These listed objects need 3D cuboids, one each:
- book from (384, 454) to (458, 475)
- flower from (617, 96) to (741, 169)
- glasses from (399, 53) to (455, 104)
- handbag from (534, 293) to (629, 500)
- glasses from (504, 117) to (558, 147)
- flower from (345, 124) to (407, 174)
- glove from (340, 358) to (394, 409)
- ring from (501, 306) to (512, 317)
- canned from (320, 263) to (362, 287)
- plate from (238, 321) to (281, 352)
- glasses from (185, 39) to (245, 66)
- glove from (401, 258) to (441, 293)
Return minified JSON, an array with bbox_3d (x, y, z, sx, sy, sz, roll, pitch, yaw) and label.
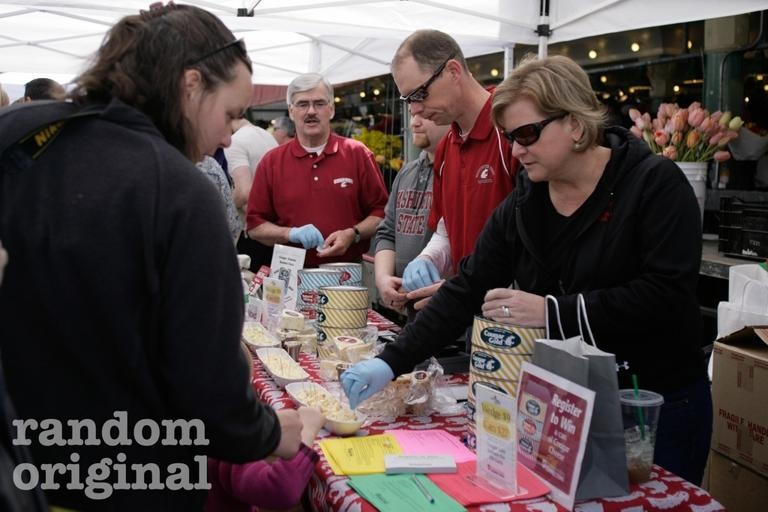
[{"bbox_3d":[0.108,0.658,1.788,0.157,0.022,0.086,2,10,-3],"label":"book"},{"bbox_3d":[2.120,-0.864,4.205,0.900,0.577,0.952,-13,16,-35],"label":"flower"},{"bbox_3d":[0.228,-0.896,2.899,0.233,0.062,0.220,-42,3,-8],"label":"glasses"},{"bbox_3d":[0.599,0.419,1.771,0.270,0.527,0.400,-2,10,2],"label":"handbag"},{"bbox_3d":[0.559,-0.441,2.096,0.124,0.039,0.116,-23,3,-16],"label":"glasses"},{"bbox_3d":[-0.073,-1.195,6.780,0.644,0.562,0.633,10,9,-13],"label":"flower"},{"bbox_3d":[-0.061,0.493,2.145,0.194,0.135,0.108,-10,25,-40],"label":"glove"},{"bbox_3d":[0.428,0.195,1.965,0.023,0.037,0.018,-7,-9,18],"label":"ring"},{"bbox_3d":[-0.255,0.106,3.475,0.171,0.123,0.164,2,-2,-42],"label":"canned"},{"bbox_3d":[-0.609,0.400,2.759,0.130,0.040,0.339,0,16,-23],"label":"plate"},{"bbox_3d":[-0.446,-0.539,1.484,0.102,0.031,0.102,-25,20,-5],"label":"glasses"},{"bbox_3d":[0.195,0.103,2.896,0.114,0.117,0.202,-18,0,19],"label":"glove"}]
